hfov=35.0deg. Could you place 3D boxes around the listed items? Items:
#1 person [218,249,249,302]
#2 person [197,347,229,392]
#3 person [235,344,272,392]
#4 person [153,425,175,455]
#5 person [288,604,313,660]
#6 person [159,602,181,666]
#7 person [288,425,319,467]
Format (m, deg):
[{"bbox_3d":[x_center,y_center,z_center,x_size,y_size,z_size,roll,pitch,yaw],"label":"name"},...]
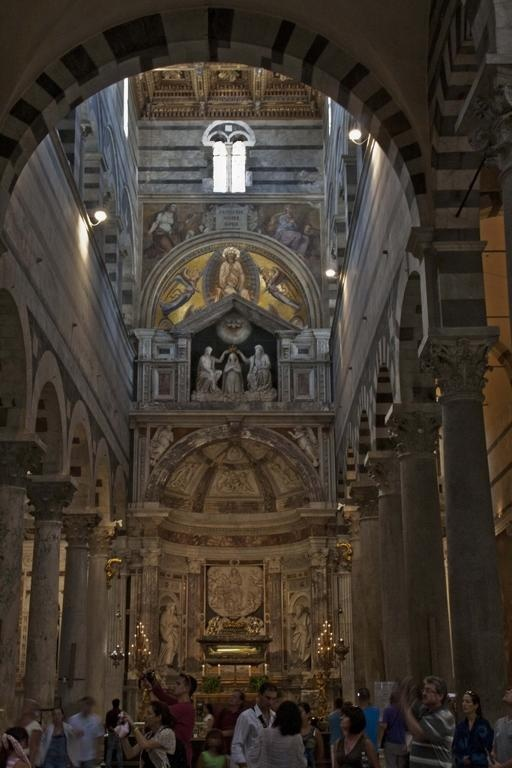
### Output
[{"bbox_3d":[-0.732,-3.353,24.856,0.922,0.455,2.308,-3,-36,-3],"label":"person"},{"bbox_3d":[-1.311,-0.268,22.888,0.757,1.440,0.643,6,-21,-14],"label":"person"},{"bbox_3d":[0.009,-0.337,22.969,0.883,1.621,0.704,-1,-21,2],"label":"person"},{"bbox_3d":[-2.502,1.549,21.820,0.574,1.169,0.260,4,-20,-6],"label":"person"},{"bbox_3d":[1.248,7.008,22.776,0.273,1.588,0.850,11,-24,-27],"label":"person"},{"bbox_3d":[-2.440,6.900,22.482,0.273,1.819,0.937,-8,-22,20],"label":"person"},{"bbox_3d":[1.288,1.718,21.898,0.694,1.374,0.424,-11,-23,-13],"label":"person"}]
